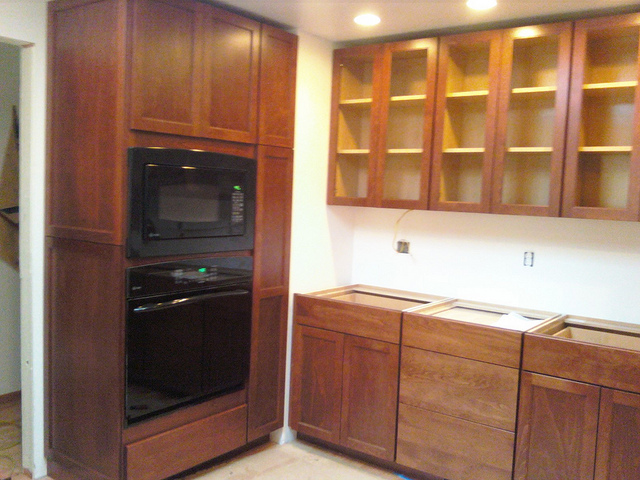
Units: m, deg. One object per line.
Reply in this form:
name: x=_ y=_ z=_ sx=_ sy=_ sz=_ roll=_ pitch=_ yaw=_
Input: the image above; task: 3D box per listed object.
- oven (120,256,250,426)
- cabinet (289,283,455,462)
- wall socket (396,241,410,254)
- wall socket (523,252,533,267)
oven: x=-0.891 y=0.540 z=3.146 sx=0.751 sy=0.807 sz=0.743 roll=5 pitch=3 yaw=36
cabinet: x=0.450 y=0.910 z=3.692 sx=0.925 sy=0.974 sz=0.996 roll=5 pitch=-3 yaw=-38
wall socket: x=0.614 y=0.057 z=3.869 sx=0.096 sy=0.082 sz=0.013 roll=3 pitch=7 yaw=35
wall socket: x=1.354 y=0.135 z=3.379 sx=0.064 sy=0.078 sz=0.022 roll=4 pitch=6 yaw=29
